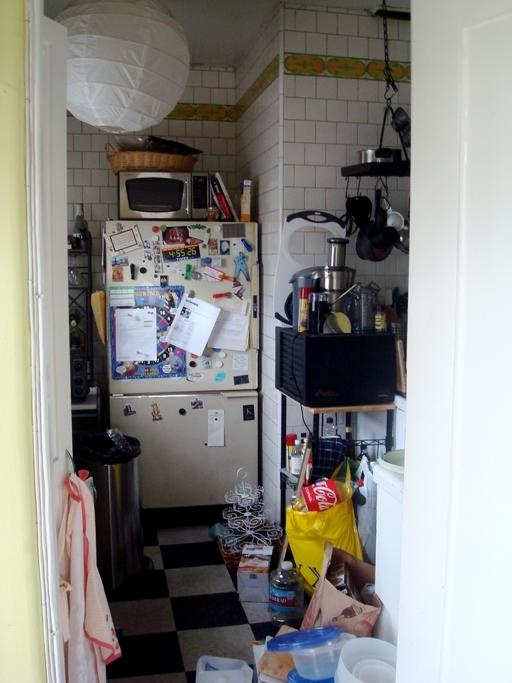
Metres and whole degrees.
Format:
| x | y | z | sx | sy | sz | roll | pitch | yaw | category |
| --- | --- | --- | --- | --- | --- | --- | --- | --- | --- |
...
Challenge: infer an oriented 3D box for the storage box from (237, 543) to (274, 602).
| x | y | z | sx | sy | sz | roll | pitch | yaw | category |
| --- | --- | --- | --- | --- | --- | --- | --- | --- | --- |
| 0.005 | 1.129 | 2.858 | 0.131 | 0.163 | 0.258 | -1 | 9 | 8 | storage box |

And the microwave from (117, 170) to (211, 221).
| x | y | z | sx | sy | sz | roll | pitch | yaw | category |
| --- | --- | --- | --- | --- | --- | --- | --- | --- | --- |
| -0.574 | -0.870 | 3.466 | 0.453 | 0.307 | 0.300 | -1 | 2 | -13 | microwave |

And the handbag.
| x | y | z | sx | sy | sz | roll | pitch | yaw | category |
| --- | --- | --- | --- | --- | --- | --- | --- | --- | --- |
| 0.290 | 0.906 | 2.326 | 0.328 | 0.540 | 1.001 | -1 | 6 | 2 | handbag |

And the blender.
| x | y | z | sx | sy | sz | roll | pitch | yaw | category |
| --- | --- | --- | --- | --- | --- | --- | --- | --- | --- |
| 0.308 | -0.278 | 2.759 | 0.378 | 0.421 | 0.295 | 3 | 6 | 27 | blender |

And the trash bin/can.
| x | y | z | sx | sy | sz | roll | pitch | yaw | category |
| --- | --- | --- | --- | --- | --- | --- | --- | --- | --- |
| -0.708 | 0.859 | 2.874 | 0.313 | 0.655 | 0.268 | -3 | 6 | -19 | trash bin/can |

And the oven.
| x | y | z | sx | sy | sz | roll | pitch | yaw | category |
| --- | --- | --- | --- | --- | --- | --- | --- | --- | --- |
| 0.344 | 0.106 | 2.813 | 0.478 | 0.326 | 0.559 | -1 | 4 | -3 | oven |

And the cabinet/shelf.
| x | y | z | sx | sy | sz | roll | pitch | yaw | category |
| --- | --- | --- | --- | --- | --- | --- | --- | --- | --- |
| 0.311 | 0.736 | 2.821 | 0.563 | 0.760 | 0.502 | 9 | -20 | -8 | cabinet/shelf |

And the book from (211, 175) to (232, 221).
| x | y | z | sx | sy | sz | roll | pitch | yaw | category |
| --- | --- | --- | --- | --- | --- | --- | --- | --- | --- |
| -0.205 | -0.872 | 3.538 | 0.134 | 0.289 | 0.104 | -2 | 6 | -10 | book |

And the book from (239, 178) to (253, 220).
| x | y | z | sx | sy | sz | roll | pitch | yaw | category |
| --- | --- | --- | --- | --- | --- | --- | --- | --- | --- |
| -0.057 | -0.857 | 3.575 | 0.080 | 0.261 | 0.219 | -1 | 6 | 0 | book |

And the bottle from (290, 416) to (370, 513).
| x | y | z | sx | sy | sz | roll | pitch | yaw | category |
| --- | --- | --- | --- | --- | --- | --- | --- | --- | --- |
| 0.344 | 0.606 | 2.880 | 0.392 | 0.647 | 0.281 | 1 | -2 | 2 | bottle |
